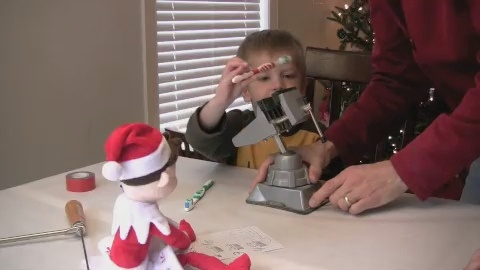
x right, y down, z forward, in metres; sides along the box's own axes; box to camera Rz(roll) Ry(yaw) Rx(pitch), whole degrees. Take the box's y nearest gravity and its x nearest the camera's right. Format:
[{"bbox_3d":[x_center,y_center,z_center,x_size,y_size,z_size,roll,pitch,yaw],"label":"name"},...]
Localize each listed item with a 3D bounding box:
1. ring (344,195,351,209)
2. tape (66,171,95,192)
[{"bbox_3d":[0.426,0.263,1.246,0.011,0.034,0.035,-33,-14,-5],"label":"ring"},{"bbox_3d":[-0.696,0.193,1.376,0.090,0.046,0.090,2,3,12],"label":"tape"}]
